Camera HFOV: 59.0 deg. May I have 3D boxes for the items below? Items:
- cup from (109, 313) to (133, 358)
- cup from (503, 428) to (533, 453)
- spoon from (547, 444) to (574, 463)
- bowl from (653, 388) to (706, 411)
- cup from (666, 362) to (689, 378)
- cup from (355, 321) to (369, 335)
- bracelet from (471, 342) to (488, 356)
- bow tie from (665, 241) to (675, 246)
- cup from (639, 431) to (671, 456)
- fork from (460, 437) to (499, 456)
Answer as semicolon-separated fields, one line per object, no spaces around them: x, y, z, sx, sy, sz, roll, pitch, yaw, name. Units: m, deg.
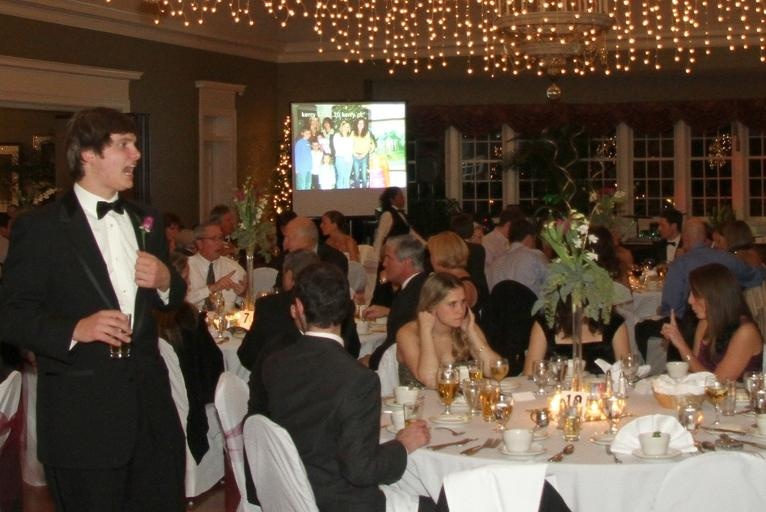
-1.060;0.331;2.722;0.090;0.192;0.163;-2;3;-21;cup
0.586;0.805;2.938;0.100;0.077;0.110;0;-11;0;cup
0.778;0.862;2.958;0.125;0.037;0.050;-24;19;-27;spoon
1.458;0.708;3.345;0.179;0.062;0.180;0;-2;0;bowl
1.671;0.645;3.851;0.103;0.073;0.106;-4;-9;-1;cup
-0.170;0.597;5.580;0.075;0.079;0.079;0;0;0;cup
0.599;0.576;4.166;0.018;0.059;0.060;-21;38;-30;bracelet
3.624;-0.149;8.521;0.087;0.035;0.070;-1;2;-8;bow tie
1.166;0.810;2.898;0.102;0.075;0.100;-5;2;0;cup
0.438;0.862;3.034;0.061;0.039;0.257;18;19;39;fork
